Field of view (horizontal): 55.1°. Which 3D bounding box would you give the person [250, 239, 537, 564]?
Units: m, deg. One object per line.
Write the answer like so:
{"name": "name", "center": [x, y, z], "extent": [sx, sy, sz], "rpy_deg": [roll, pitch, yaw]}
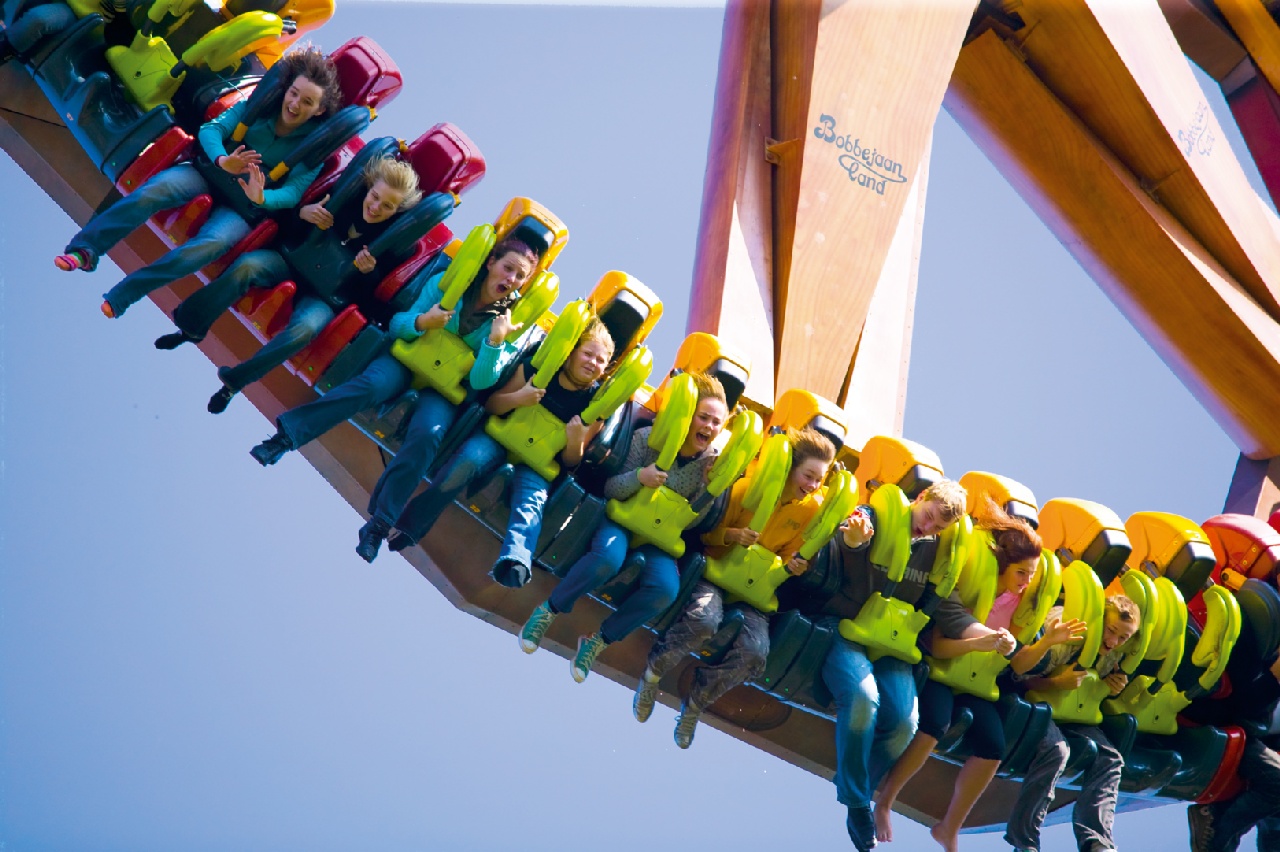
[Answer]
{"name": "person", "center": [-1.205, -0.246, 6.558], "extent": [1.229, 1.510, 0.739], "rpy_deg": [-21, -53, 35]}

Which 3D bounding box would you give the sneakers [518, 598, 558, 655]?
{"name": "sneakers", "center": [-0.558, 1.076, 6.652], "extent": [0.131, 0.310, 0.235], "rpy_deg": [32, -44, -19]}

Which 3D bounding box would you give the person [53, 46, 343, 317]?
{"name": "person", "center": [-2.282, -1.268, 6.630], "extent": [1.187, 1.489, 0.560], "rpy_deg": [-13, -48, 29]}

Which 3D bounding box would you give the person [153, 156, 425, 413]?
{"name": "person", "center": [-1.873, -0.798, 6.580], "extent": [0.571, 1.439, 0.559], "rpy_deg": [49, -16, -10]}

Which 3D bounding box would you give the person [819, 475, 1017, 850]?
{"name": "person", "center": [1.542, 1.456, 6.992], "extent": [0.937, 1.827, 1.490], "rpy_deg": [0, -44, 17]}
